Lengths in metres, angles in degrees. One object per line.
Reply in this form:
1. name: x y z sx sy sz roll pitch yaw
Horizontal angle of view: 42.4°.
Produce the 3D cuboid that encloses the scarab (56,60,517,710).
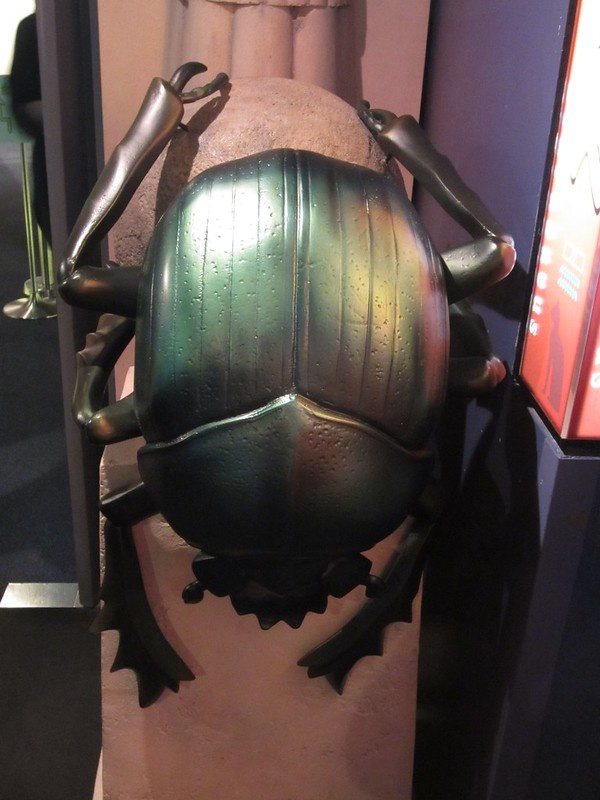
1. scarab: -0.013 -0.030 0.624 0.355 0.501 0.176 -1 14 -7
